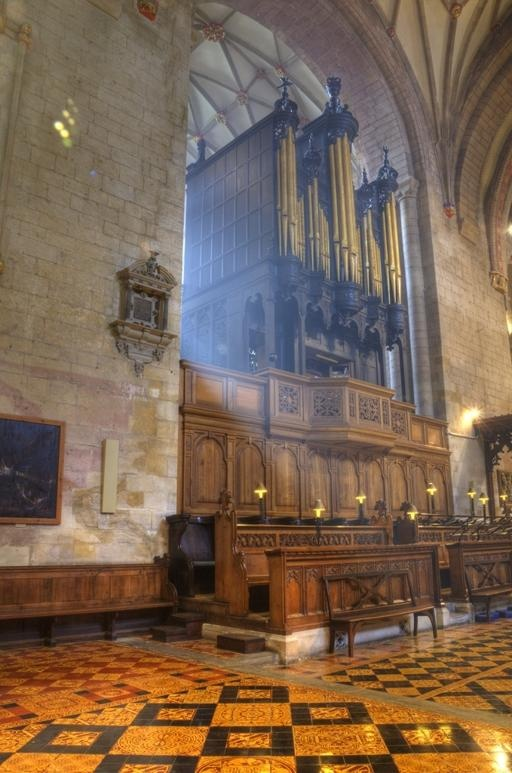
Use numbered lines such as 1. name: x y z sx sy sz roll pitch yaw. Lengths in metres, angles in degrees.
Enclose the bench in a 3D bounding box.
1. bench: 1.404 2.460 6.629 0.413 0.819 2.218 -13 -17 35
